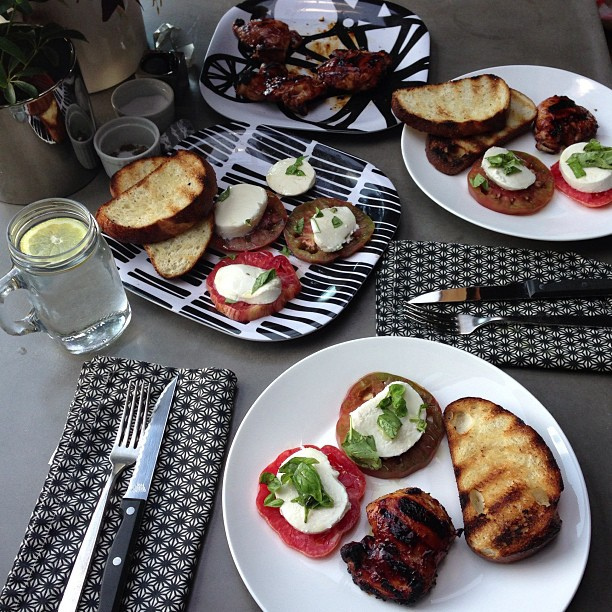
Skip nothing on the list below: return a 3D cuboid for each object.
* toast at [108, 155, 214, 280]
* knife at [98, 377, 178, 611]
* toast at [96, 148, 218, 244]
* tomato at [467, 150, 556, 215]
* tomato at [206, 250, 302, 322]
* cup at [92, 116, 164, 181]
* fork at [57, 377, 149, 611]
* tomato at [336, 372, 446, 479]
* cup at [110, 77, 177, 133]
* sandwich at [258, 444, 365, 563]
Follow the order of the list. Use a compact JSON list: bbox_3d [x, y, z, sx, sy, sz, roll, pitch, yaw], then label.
[{"bbox_3d":[-0.338,-0.199,1.330,0.239,0.208,0.233,-16,46,-12],"label":"toast"},{"bbox_3d":[-0.279,0.315,0.973,0.041,0.015,0.316,9,51,10],"label":"knife"},{"bbox_3d":[-0.379,-0.262,1.397,0.260,0.168,0.066,-33,69,0],"label":"toast"},{"bbox_3d":[0.511,-0.295,1.478,0.261,0.145,0.176,17,47,17],"label":"tomato"},{"bbox_3d":[-0.122,-0.060,1.224,0.190,0.092,0.183,-19,53,-7],"label":"tomato"},{"bbox_3d":[-0.459,-0.420,1.506,0.191,0.130,0.163,-5,67,0],"label":"cup"},{"bbox_3d":[-0.333,0.321,0.960,0.046,0.042,0.345,5,59,15],"label":"fork"},{"bbox_3d":[0.144,0.202,0.990,0.193,0.055,0.175,-27,62,-13],"label":"tomato"},{"bbox_3d":[-0.441,-0.562,1.544,0.209,0.106,0.173,-2,61,-1],"label":"cup"},{"bbox_3d":[0.007,0.312,0.916,0.172,0.115,0.183,-2,54,6],"label":"sandwich"}]
